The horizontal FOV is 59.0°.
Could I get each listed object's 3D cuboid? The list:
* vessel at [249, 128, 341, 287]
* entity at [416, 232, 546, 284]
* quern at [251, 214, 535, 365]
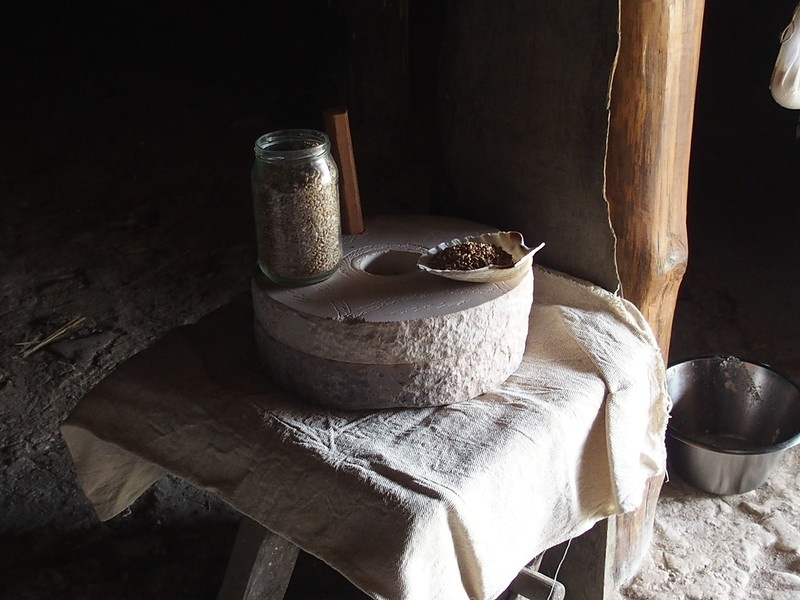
[{"bbox_3d":[-0.168,-0.156,1.144,0.132,0.233,0.140,15,36,20],"label":"vessel"},{"bbox_3d":[0.127,-0.063,1.153,0.129,0.045,0.123,-5,22,17],"label":"entity"},{"bbox_3d":[-0.014,-0.008,1.220,0.331,0.134,0.354,-5,32,-10],"label":"quern"}]
